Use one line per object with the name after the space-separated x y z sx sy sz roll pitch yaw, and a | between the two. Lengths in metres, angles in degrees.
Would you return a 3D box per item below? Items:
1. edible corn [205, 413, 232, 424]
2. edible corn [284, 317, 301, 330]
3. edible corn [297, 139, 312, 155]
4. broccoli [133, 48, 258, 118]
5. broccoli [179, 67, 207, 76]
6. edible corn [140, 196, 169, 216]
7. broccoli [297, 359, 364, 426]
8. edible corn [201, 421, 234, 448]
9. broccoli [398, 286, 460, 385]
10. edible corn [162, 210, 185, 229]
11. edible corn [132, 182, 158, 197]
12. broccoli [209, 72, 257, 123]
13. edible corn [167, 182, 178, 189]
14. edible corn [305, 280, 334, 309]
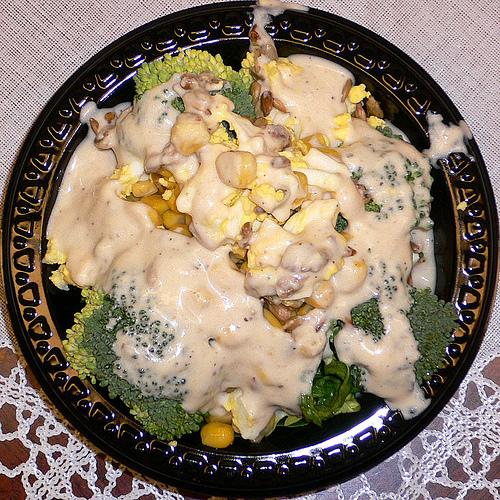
-0.188 1.032 4.263 0.122 0.080 0.032 -15 69 15 | edible corn
0.246 0.434 4.136 0.103 0.033 0.054 -15 102 10 | edible corn
0.320 -0.621 4.184 0.084 0.050 0.103 -16 51 -6 | edible corn
-0.331 -1.032 4.316 0.680 0.234 0.377 8 44 -9 | broccoli
-0.336 -1.079 4.221 0.085 0.098 0.023 -13 102 -29 | broccoli
-0.576 -0.283 4.268 0.168 0.126 0.059 9 118 -17 | edible corn
0.485 0.857 4.214 0.406 0.197 0.392 -8 86 -1 | broccoli
-0.197 1.097 4.159 0.212 0.095 0.103 4 75 -4 | edible corn
1.081 0.498 4.150 0.316 0.109 0.566 -14 86 -1 | broccoli
-0.462 -0.187 4.222 0.135 0.044 0.106 -4 86 0 | edible corn
-0.643 -0.369 4.259 0.142 0.077 0.087 -1 86 0 | edible corn
-0.086 -0.945 4.271 0.192 0.132 0.288 -19 86 -1 | broccoli
-0.474 -0.392 4.251 0.052 0.036 0.040 -4 101 5 | edible corn
0.407 0.256 4.030 0.219 0.089 0.138 3 91 8 | edible corn
